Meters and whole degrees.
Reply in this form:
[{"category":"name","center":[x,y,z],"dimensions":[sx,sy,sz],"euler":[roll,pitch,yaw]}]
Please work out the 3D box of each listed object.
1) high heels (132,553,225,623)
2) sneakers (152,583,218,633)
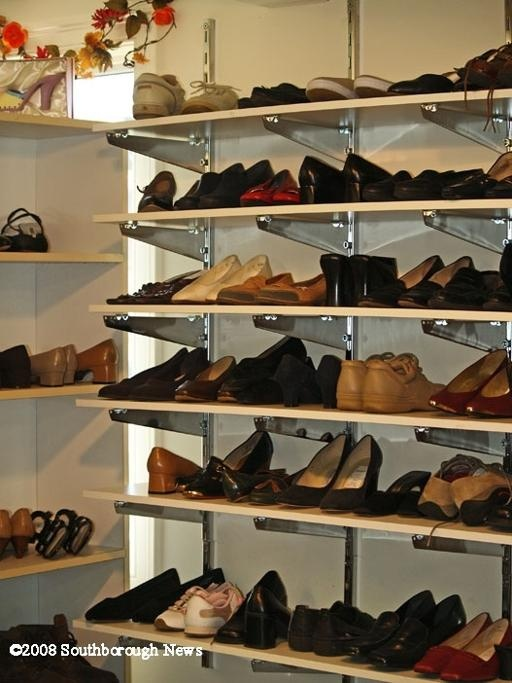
[{"category":"high heels","center":[-0.236,0.767,1.896],"dimensions":[0.094,0.103,0.282],"euler":[-5,-4,39]},{"category":"sneakers","center":[-0.193,0.763,1.766],"dimensions":[0.074,0.082,0.219],"euler":[-4,-8,30]}]
